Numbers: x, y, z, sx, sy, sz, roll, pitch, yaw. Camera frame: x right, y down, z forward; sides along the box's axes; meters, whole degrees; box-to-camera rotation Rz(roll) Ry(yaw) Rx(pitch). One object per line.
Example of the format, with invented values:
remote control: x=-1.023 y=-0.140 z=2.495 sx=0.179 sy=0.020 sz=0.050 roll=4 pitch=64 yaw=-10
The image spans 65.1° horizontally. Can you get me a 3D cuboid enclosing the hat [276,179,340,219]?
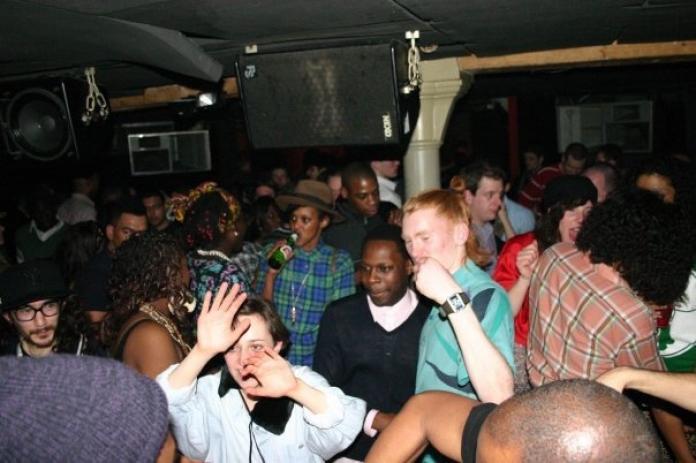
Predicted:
hat: x=-0.404 y=-0.241 z=4.690 sx=0.432 sy=0.189 sz=0.477 roll=-16 pitch=9 yaw=-28

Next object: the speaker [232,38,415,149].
speaker: x=-0.105 y=-1.107 z=4.463 sx=1.321 sy=0.668 sz=0.982 roll=-1 pitch=15 yaw=13

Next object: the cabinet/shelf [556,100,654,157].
cabinet/shelf: x=5.233 y=-2.088 z=11.221 sx=1.763 sy=1.032 sz=0.521 roll=1 pitch=-4 yaw=21
